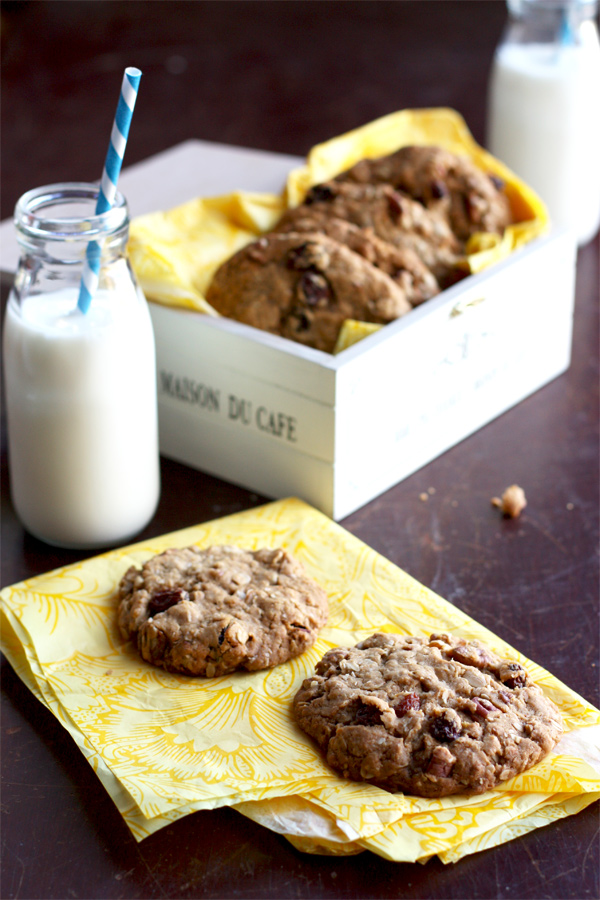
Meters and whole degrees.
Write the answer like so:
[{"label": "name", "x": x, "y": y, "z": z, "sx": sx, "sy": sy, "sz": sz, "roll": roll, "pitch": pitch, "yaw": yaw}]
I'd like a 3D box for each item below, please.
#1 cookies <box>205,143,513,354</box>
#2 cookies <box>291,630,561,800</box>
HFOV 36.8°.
[{"label": "cookies", "x": 0.056, "y": -0.159, "z": 0.913, "sx": 0.293, "sy": 0.093, "sz": 0.175, "roll": -29, "pitch": 64, "yaw": -15}, {"label": "cookies", "x": 0.077, "y": 0.160, "z": 0.562, "sx": 0.165, "sy": 0.050, "sz": 0.124, "roll": -4, "pitch": 36, "yaw": -3}]
